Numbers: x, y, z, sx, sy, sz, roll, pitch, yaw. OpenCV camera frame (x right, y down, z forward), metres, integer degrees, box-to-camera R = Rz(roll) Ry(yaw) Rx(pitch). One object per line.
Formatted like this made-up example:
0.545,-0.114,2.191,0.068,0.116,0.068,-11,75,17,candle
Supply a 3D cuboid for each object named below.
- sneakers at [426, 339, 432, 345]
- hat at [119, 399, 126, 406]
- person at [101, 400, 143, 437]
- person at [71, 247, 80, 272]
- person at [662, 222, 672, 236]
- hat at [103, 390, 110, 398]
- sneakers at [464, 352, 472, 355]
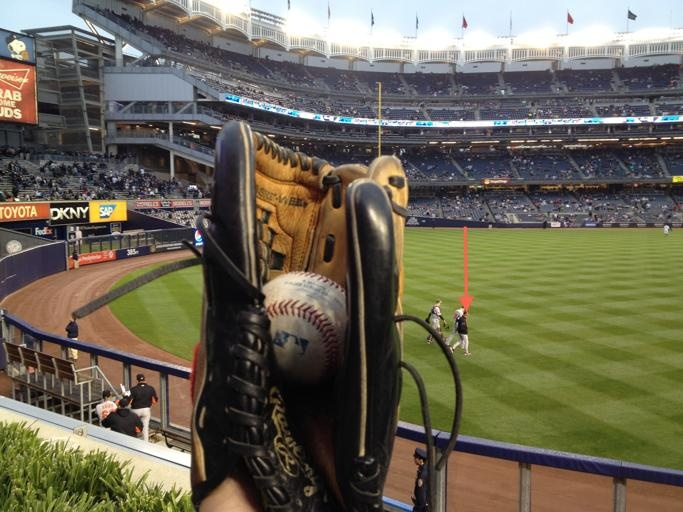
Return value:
3.187,3.138,27.465,0.113,0.138,0.134,4,-2,-1,sneakers
-6.155,4.168,21.531,0.178,0.202,0.216,5,22,-3,hat
-6.144,4.647,21.432,0.779,1.612,0.632,13,1,-9,person
-13.888,0.090,39.916,0.257,1.144,0.603,2,4,-1,person
25.150,-2.029,58.897,0.936,0.453,1.724,7,26,26,person
-6.798,4.057,22.162,0.179,0.206,0.214,4,28,-2,hat
4.424,3.456,26.633,0.238,0.142,0.079,-4,8,-17,sneakers
